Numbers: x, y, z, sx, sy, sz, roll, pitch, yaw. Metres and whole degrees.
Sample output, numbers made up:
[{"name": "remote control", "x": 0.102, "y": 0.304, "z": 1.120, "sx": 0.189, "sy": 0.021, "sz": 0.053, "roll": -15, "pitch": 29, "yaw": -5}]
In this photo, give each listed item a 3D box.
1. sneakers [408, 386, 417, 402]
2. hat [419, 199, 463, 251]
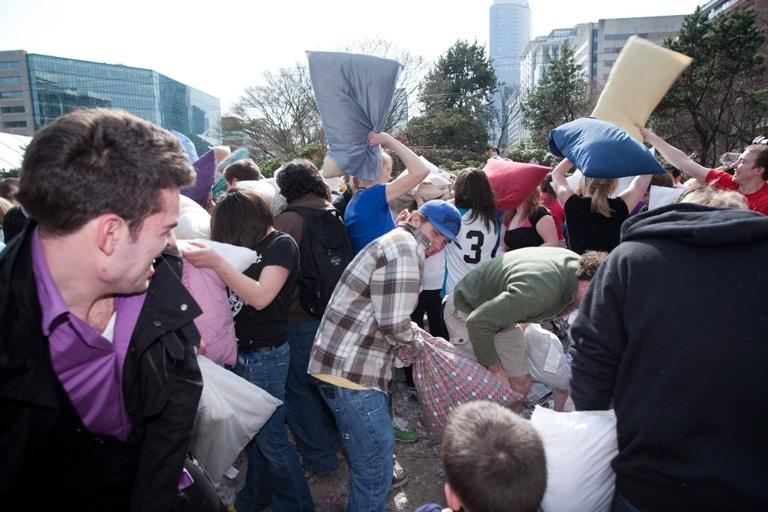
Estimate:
[{"name": "sneakers", "x": 0.289, "y": 1.425, "z": 5.224, "sx": 0.127, "sy": 0.177, "sz": 0.124, "roll": 2, "pitch": -11, "yaw": -14}, {"name": "hat", "x": 0.417, "y": -0.254, "z": 3.517, "sx": 0.325, "sy": 0.174, "sz": 0.237, "roll": 38, "pitch": 0, "yaw": 28}]
